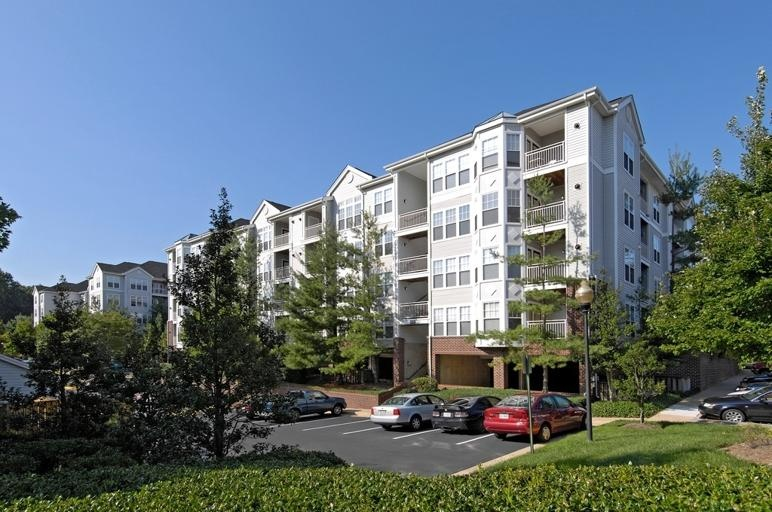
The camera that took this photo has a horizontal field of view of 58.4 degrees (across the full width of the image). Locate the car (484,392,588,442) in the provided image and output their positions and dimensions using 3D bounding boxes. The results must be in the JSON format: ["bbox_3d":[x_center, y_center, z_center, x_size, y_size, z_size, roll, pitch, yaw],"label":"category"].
[{"bbox_3d":[6.588,7.127,30.515,4.392,1.899,2.232,1,-4,-32],"label":"car"}]

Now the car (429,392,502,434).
[{"bbox_3d":[3.529,7.286,31.710,1.432,0.861,3.073,-4,-3,35],"label":"car"}]
